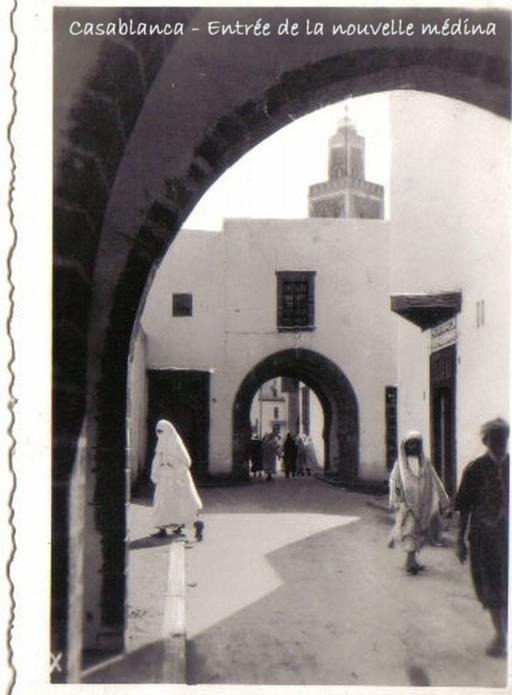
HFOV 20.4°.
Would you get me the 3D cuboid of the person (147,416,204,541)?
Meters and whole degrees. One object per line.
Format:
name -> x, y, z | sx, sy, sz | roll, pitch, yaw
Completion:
person -> -0.606, 1.064, 11.117 | 0.398, 0.961, 0.490 | 2, 5, -2
